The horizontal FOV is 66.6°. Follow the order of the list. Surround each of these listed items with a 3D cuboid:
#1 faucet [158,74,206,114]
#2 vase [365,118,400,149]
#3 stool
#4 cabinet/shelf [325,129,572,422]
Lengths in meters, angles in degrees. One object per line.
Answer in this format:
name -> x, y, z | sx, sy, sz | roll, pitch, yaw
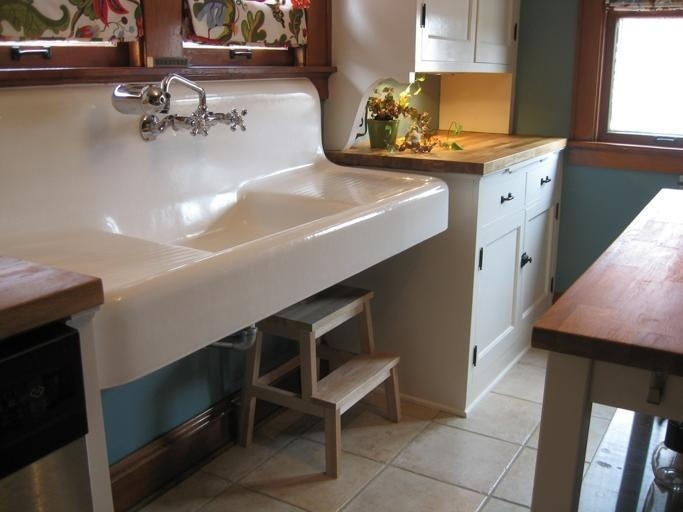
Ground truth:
faucet -> -0.469, -0.481, 1.564 | 0.190, 0.104, 0.047 | 14, 19, 28
vase -> 0.191, -0.573, 2.439 | 0.170, 0.144, 0.135 | 2, 15, 9
stool -> -0.078, 0.470, 2.190 | 0.454, 0.569, 0.588 | 6, 10, 28
cabinet/shelf -> 0.673, -0.033, 2.927 | 0.771, 1.202, 1.438 | 10, 20, 35
